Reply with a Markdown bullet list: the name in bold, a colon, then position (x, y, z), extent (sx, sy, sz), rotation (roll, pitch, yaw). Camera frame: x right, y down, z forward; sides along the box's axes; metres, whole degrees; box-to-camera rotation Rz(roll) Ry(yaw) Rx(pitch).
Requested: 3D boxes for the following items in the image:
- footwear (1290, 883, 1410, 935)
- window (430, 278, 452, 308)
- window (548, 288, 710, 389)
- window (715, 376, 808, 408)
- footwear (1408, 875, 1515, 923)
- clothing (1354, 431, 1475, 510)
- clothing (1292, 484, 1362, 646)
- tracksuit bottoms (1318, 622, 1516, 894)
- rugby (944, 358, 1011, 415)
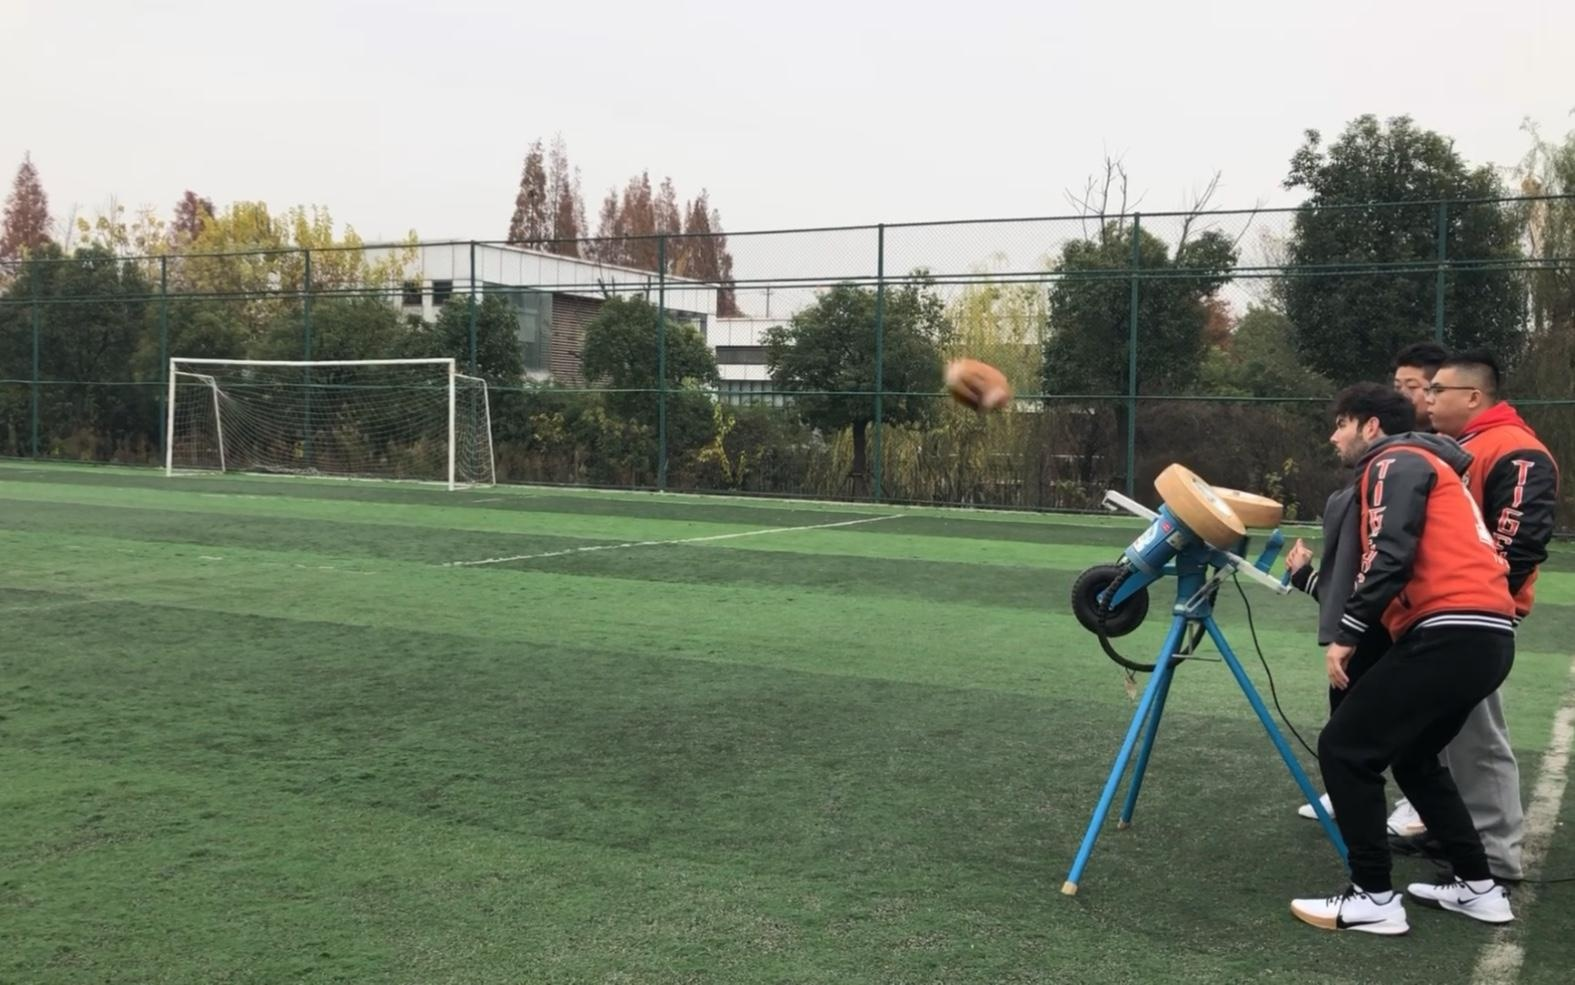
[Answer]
- **footwear**: position (2.898, 2.141, 7.176), extent (0.596, 0.238, 0.229), rotation (2, -8, 13)
- **window**: position (-6.765, -3.909, 27.152), extent (0.654, 0.738, 0.067), rotation (8, 12, 39)
- **window**: position (-2.925, -2.799, 25.105), extent (1.968, 1.154, 2.337), rotation (0, 1, -19)
- **window**: position (-0.574, -1.722, 23.754), extent (1.450, 0.472, 0.391), rotation (4, 4, 37)
- **footwear**: position (3.533, 2.107, 7.297), extent (0.577, 0.232, 0.199), rotation (6, -2, 32)
- **clothing**: position (3.211, -0.137, 7.135), extent (0.497, 0.203, 0.413), rotation (4, -11, 41)
- **clothing**: position (3.582, 0.490, 9.216), extent (0.460, 0.352, 1.573), rotation (25, 30, 19)
- **tracksuit bottoms**: position (3.176, 1.336, 7.022), extent (0.949, 1.379, 0.274), rotation (1, 4, -13)
- **rugby**: position (1.072, -0.606, 7.840), extent (0.257, 0.267, 0.427), rotation (-15, 19, -37)
